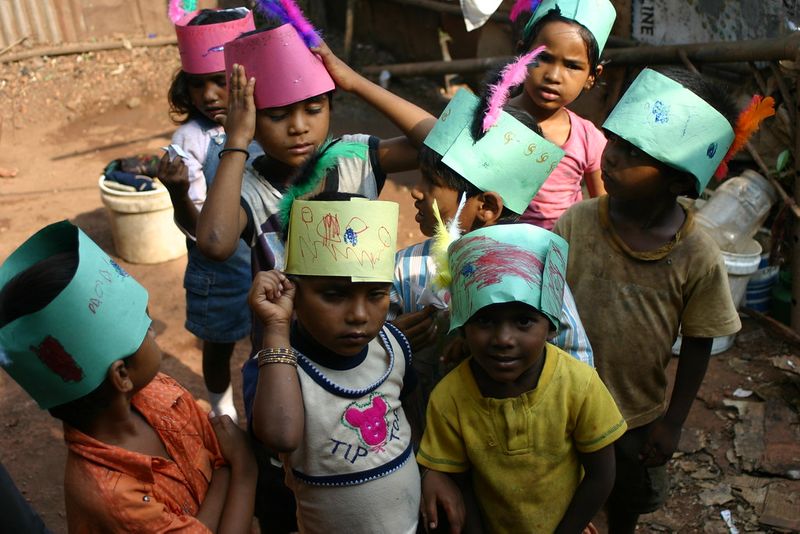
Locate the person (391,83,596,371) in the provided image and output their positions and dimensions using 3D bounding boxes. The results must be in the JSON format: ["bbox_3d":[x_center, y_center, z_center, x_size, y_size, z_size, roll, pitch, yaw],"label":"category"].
[{"bbox_3d":[0.503,-0.194,4.076,0.729,1.485,1.450,3,9,-28],"label":"person"}]

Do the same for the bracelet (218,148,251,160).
[{"bbox_3d":[-0.868,-0.593,4.055,0.161,0.074,0.107,0,25,0],"label":"bracelet"}]

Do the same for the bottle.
[{"bbox_3d":[2.484,-0.409,5.750,0.594,0.373,0.364,-42,69,-17],"label":"bottle"}]

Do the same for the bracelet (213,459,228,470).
[{"bbox_3d":[-0.844,0.925,3.682,0.041,0.048,0.017,-1,-9,-12],"label":"bracelet"}]
